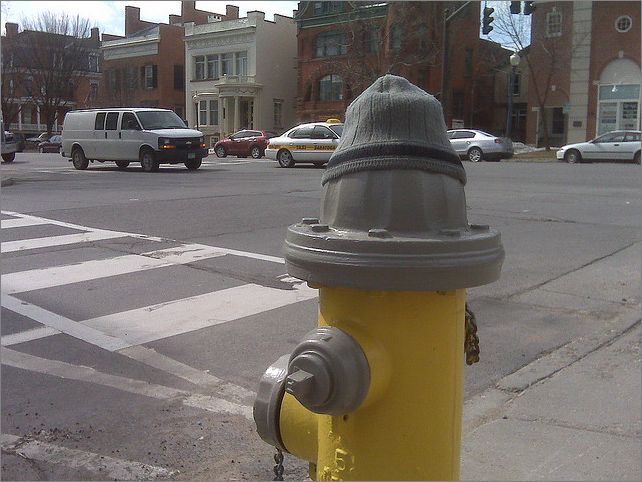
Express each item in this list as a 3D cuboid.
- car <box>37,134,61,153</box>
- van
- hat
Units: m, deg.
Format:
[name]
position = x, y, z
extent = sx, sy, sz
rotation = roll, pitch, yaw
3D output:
[car]
position = -20.544, -7.318, 50.401
extent = 1.290, 1.220, 3.075
rotation = -7, 14, -26
[van]
position = -6.914, -3.666, 23.889
extent = 5.889, 2.172, 2.276
rotation = 9, 15, 35
[hat]
position = 0.356, -0.490, 2.902
extent = 0.482, 0.404, 0.537
rotation = -4, 7, -27
